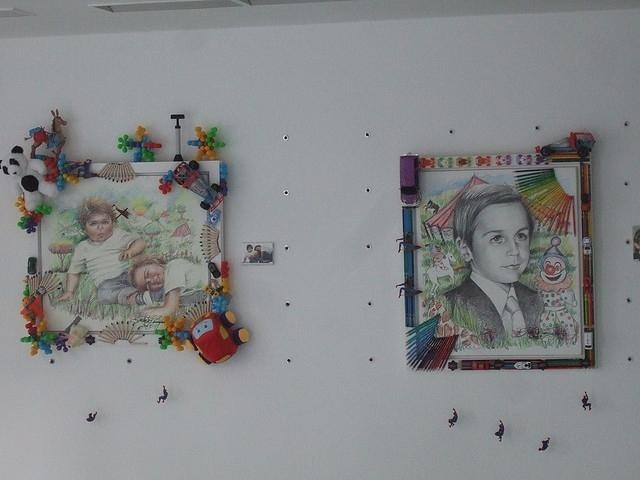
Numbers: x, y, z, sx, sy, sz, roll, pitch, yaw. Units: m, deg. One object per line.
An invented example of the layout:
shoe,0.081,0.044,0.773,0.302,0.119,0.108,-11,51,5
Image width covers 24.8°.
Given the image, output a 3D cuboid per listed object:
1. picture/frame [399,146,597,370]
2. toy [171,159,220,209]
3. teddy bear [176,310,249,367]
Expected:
picture/frame,0.908,0.080,7.166,1.023,1.170,0.059,-1,0,5
toy,-0.597,-0.266,7.229,0.097,0.168,0.274,-8,-51,51
teddy bear,-0.498,0.470,7.179,0.255,0.216,0.157,-7,-38,14
